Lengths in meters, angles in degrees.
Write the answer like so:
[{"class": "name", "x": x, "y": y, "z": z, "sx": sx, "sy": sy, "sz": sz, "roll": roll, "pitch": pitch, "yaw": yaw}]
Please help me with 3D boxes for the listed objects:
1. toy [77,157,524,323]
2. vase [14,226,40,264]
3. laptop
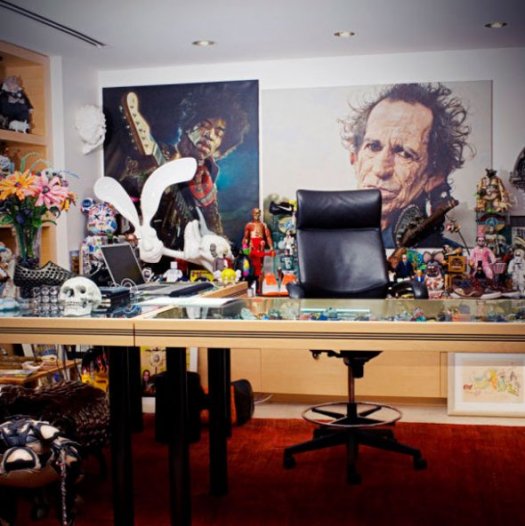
[{"class": "toy", "x": -0.054, "y": -0.034, "z": 2.392, "sx": 1.883, "sy": 0.583, "sz": 1.278, "roll": 1, "pitch": 4, "yaw": 12}, {"class": "vase", "x": -0.929, "y": -0.062, "z": 2.017, "sx": 0.109, "sy": 0.156, "sz": 0.118, "roll": 3, "pitch": 4, "yaw": 43}, {"class": "laptop", "x": -0.448, "y": 0.030, "z": 2.161, "sx": 0.283, "sy": 0.161, "sz": 0.275, "roll": -2, "pitch": 3, "yaw": 11}]
